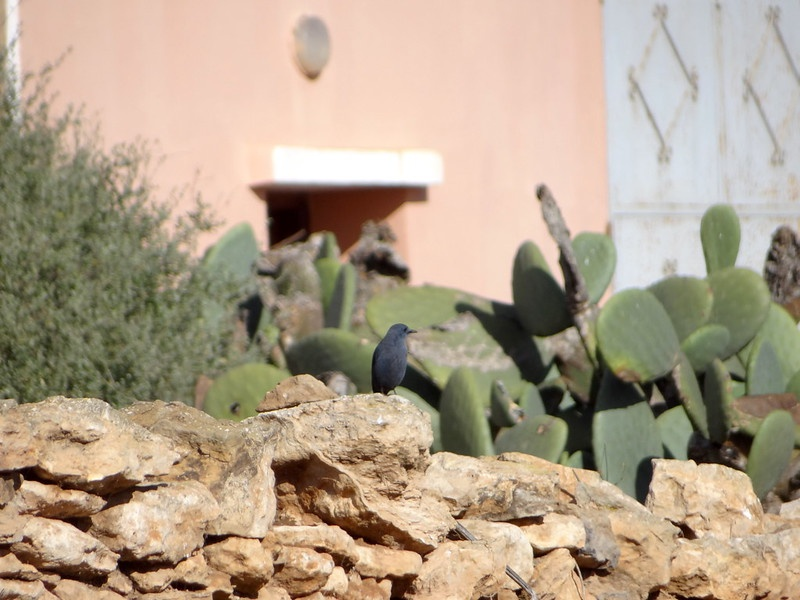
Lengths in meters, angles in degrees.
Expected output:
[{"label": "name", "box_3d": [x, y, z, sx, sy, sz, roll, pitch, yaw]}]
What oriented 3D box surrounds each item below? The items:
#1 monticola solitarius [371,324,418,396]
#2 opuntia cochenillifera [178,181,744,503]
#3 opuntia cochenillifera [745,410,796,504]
[{"label": "monticola solitarius", "box_3d": [-0.058, 0.344, 11.845, 0.306, 0.630, 0.250, -1, 9, -9]}, {"label": "opuntia cochenillifera", "box_3d": [1.014, 0.316, 12.535, 3.343, 1.981, 2.013, -6, 6, -41]}, {"label": "opuntia cochenillifera", "box_3d": [2.175, 0.880, 12.081, 0.216, 0.619, 0.196, -1, 4, 40]}]
